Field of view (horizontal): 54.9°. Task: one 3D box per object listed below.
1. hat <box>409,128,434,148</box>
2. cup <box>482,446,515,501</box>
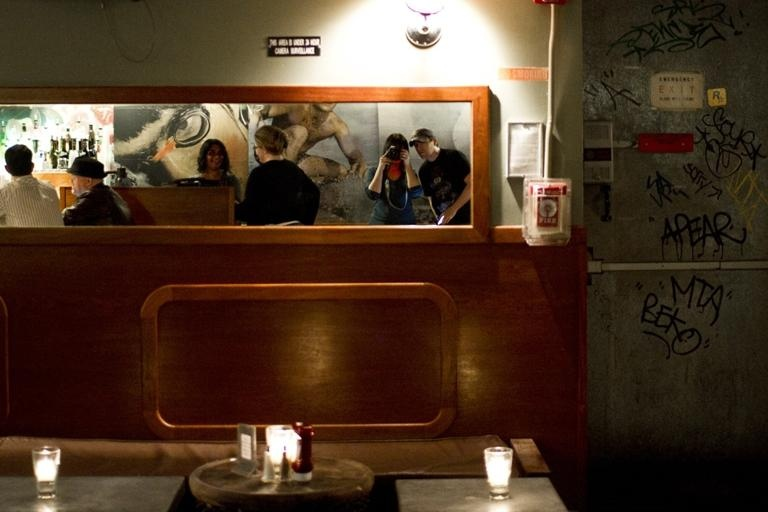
[{"bbox_3d":[0.301,-0.974,5.970,0.136,0.101,0.196,-14,-17,36],"label":"hat"},{"bbox_3d":[0.625,1.201,4.202,0.231,0.346,0.232,-3,-2,0],"label":"cup"}]
